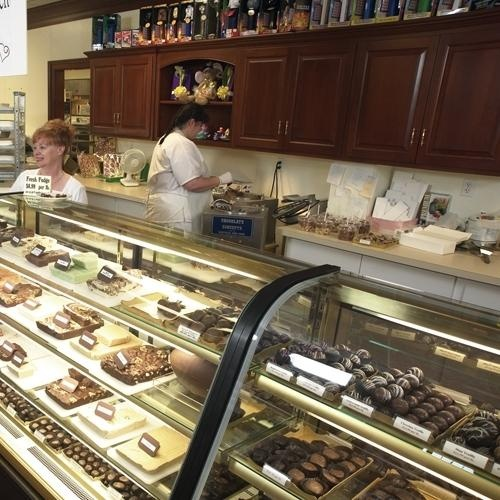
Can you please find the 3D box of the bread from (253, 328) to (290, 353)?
[{"bbox_3d":[0.046,0.195,0.886,0.076,0.039,0.020,-17,-6,-45],"label":"bread"}]

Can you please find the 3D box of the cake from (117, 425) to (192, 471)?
[{"bbox_3d":[-0.281,0.573,1.178,0.165,0.057,0.179,-8,17,-36],"label":"cake"}]

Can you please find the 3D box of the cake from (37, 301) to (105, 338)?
[{"bbox_3d":[-0.641,0.255,1.443,0.140,0.050,0.184,19,22,38],"label":"cake"}]

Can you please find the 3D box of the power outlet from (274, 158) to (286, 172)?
[{"bbox_3d":[0.271,-0.785,3.751,0.115,0.174,0.053,5,10,10],"label":"power outlet"}]

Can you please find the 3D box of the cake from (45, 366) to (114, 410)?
[{"bbox_3d":[-0.605,0.491,1.398,0.162,0.051,0.167,19,20,36],"label":"cake"}]

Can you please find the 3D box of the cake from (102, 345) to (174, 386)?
[{"bbox_3d":[-0.356,0.346,1.279,0.143,0.028,0.144,11,12,43],"label":"cake"}]

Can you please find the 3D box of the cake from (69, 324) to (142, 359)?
[{"bbox_3d":[-0.491,0.310,1.360,0.146,0.032,0.128,12,19,31],"label":"cake"}]

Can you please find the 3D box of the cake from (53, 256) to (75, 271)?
[{"bbox_3d":[-0.671,0.050,1.469,0.066,0.054,0.014,18,-12,25],"label":"cake"}]

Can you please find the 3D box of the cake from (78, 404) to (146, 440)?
[{"bbox_3d":[-0.429,0.542,1.284,0.133,0.026,0.125,13,13,39],"label":"cake"}]

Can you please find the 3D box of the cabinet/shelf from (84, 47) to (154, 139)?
[{"bbox_3d":[-1.322,-1.668,4.523,1.087,0.854,0.386,17,21,32],"label":"cabinet/shelf"}]

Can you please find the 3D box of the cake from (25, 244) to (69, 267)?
[{"bbox_3d":[-0.781,0.019,1.551,0.119,0.060,0.114,18,20,33],"label":"cake"}]

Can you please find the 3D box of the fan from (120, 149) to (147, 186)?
[{"bbox_3d":[-1.224,-0.880,4.340,0.309,0.337,0.231,5,-3,11],"label":"fan"}]

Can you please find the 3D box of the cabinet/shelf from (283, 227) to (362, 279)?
[{"bbox_3d":[0.436,-0.002,2.261,0.200,0.247,0.311,-4,18,-45],"label":"cabinet/shelf"}]

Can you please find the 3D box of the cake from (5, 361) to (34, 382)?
[{"bbox_3d":[-0.864,0.442,1.515,0.057,0.021,0.108,-3,10,-41],"label":"cake"}]

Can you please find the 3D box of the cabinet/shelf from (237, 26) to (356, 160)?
[{"bbox_3d":[0.467,-1.291,3.442,0.452,0.958,1.213,-19,31,-39],"label":"cabinet/shelf"}]
